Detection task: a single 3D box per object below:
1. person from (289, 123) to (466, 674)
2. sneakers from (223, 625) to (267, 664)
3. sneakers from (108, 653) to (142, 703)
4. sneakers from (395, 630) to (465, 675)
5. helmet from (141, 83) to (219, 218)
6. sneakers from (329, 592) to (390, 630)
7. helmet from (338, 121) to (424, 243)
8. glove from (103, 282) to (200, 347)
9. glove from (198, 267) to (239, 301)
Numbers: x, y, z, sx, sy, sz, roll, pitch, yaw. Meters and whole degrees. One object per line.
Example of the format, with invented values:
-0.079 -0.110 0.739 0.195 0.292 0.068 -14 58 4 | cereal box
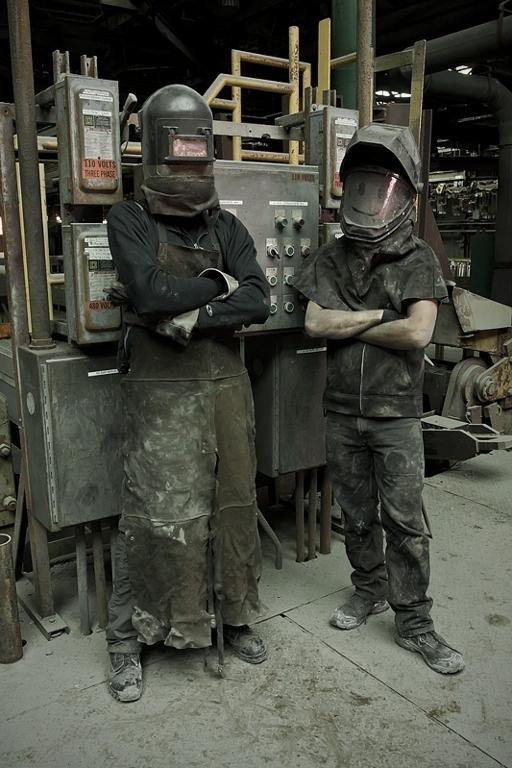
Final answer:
0.500 0.033 2.491 0.706 1.988 0.310 8 12 41 | person
-0.045 0.985 2.459 0.073 0.087 0.188 -1 1 -36 | sneakers
-0.440 1.019 2.216 0.068 0.086 0.198 3 -6 -13 | sneakers
0.660 0.993 2.454 0.094 0.110 0.229 -12 13 -43 | sneakers
-0.254 -0.753 2.094 0.232 0.417 0.143 -1 9 -9 | helmet
0.442 0.954 2.745 0.262 0.116 0.099 1 -2 -39 | sneakers
0.466 -0.750 2.436 0.305 0.392 0.392 13 22 20 | helmet
-0.378 -0.239 2.200 0.165 0.200 0.460 -6 11 -36 | glove
-0.117 -0.327 2.137 0.143 0.105 0.077 -3 9 -20 | glove
